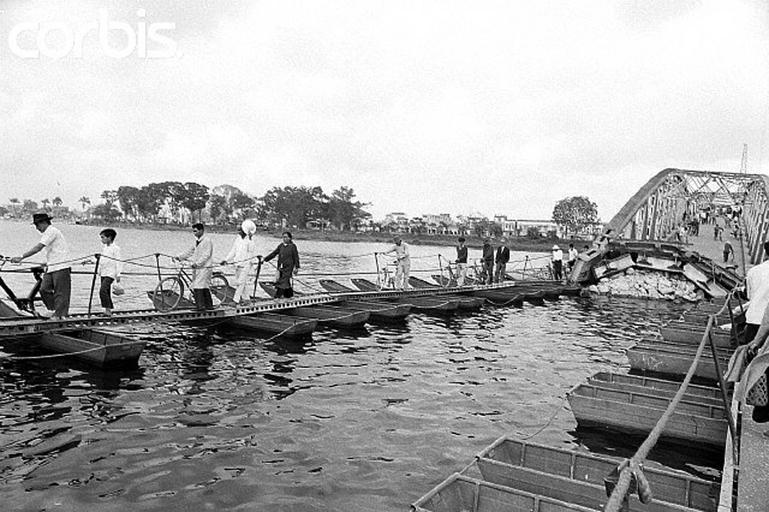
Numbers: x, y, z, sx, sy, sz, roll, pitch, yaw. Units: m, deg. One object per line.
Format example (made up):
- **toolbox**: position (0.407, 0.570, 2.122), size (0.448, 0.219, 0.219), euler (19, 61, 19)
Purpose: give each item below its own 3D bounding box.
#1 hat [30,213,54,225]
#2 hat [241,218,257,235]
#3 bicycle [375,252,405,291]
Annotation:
- **hat**: position (-8.361, -0.898, 14.673), size (0.388, 0.320, 0.536), euler (-1, 6, -30)
- **hat**: position (-4.246, -0.947, 19.015), size (0.457, 0.452, 0.581), euler (-6, 33, -22)
- **bicycle**: position (0.158, 0.810, 27.471), size (1.102, 1.373, 3.556), euler (2, 5, 12)
